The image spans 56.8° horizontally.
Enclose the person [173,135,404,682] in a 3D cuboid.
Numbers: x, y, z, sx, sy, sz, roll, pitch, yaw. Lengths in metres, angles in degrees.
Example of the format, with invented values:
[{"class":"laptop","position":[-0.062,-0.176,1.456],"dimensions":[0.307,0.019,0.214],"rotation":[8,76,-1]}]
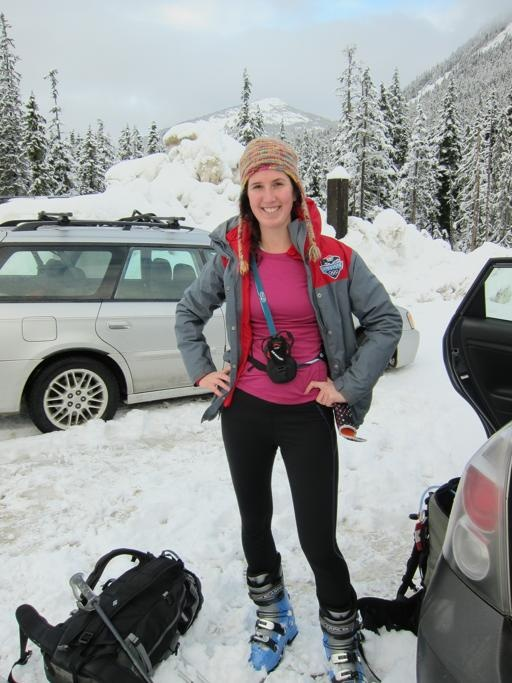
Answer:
[{"class":"person","position":[0.078,0.261,1.760],"dimensions":[0.813,1.950,0.339],"rotation":[6,12,31]}]

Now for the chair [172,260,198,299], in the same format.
[{"class":"chair","position":[-0.721,-0.630,4.643],"dimensions":[0.217,0.437,0.110],"rotation":[6,-17,-10]}]
